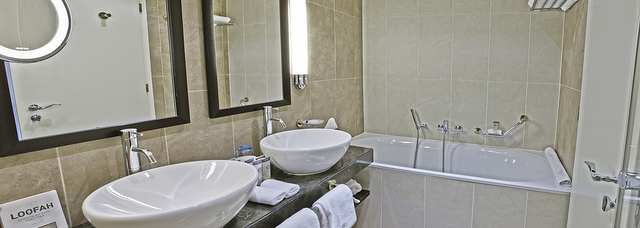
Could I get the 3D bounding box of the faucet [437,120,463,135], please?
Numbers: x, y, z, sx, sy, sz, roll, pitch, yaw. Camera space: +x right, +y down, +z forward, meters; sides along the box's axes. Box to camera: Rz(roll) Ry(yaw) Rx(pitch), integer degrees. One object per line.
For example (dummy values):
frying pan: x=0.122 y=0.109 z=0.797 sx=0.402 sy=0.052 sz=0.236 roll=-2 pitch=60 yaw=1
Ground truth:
faucet: x=2.039 y=0.225 z=5.960 sx=0.541 sy=0.232 sz=0.239 roll=-2 pitch=-7 yaw=22

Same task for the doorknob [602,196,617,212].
doorknob: x=3.038 y=0.950 z=3.932 sx=0.056 sy=0.152 sz=0.126 roll=-17 pitch=30 yaw=-41

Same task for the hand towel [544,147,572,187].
hand towel: x=3.354 y=0.738 z=5.287 sx=0.181 sy=0.278 sz=0.792 roll=10 pitch=18 yaw=12

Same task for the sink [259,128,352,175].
sink: x=-0.150 y=0.451 z=4.675 sx=1.176 sy=0.282 sz=0.998 roll=-1 pitch=12 yaw=6
